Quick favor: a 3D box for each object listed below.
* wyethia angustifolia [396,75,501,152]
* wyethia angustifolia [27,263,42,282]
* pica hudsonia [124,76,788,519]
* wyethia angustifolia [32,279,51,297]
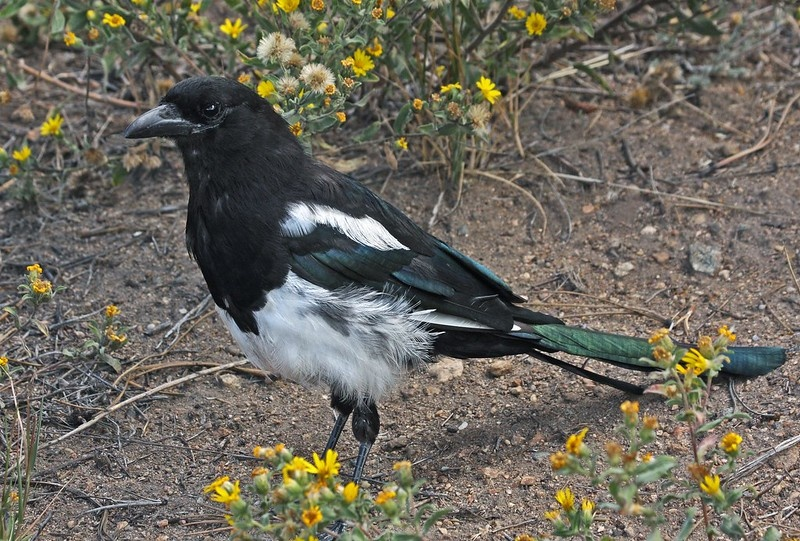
[{"bbox_3d":[0.397,-1.156,6.586,0.624,0.589,0.760,3,12,8],"label":"wyethia angustifolia"},{"bbox_3d":[-2.361,0.009,5.896,0.109,0.107,0.158,0,7,-4],"label":"wyethia angustifolia"},{"bbox_3d":[0.338,0.209,6.324,4.308,2.497,1.026,3,5,-23],"label":"pica hudsonia"},{"bbox_3d":[-2.216,0.101,5.647,0.115,0.083,0.116,-15,49,-30],"label":"wyethia angustifolia"}]
